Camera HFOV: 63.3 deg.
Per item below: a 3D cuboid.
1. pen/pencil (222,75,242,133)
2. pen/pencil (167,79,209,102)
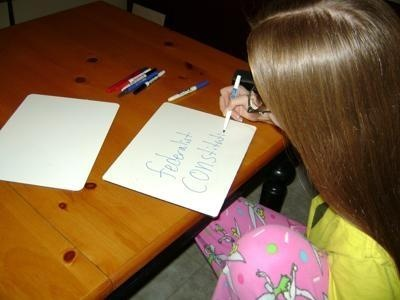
[{"bbox_3d":[0.082,-0.114,0.837,0.018,0.015,0.180,8,65,17],"label":"pen/pencil"},{"bbox_3d":[-0.035,-0.160,0.893,0.107,0.015,0.014,-35,15,-26],"label":"pen/pencil"}]
